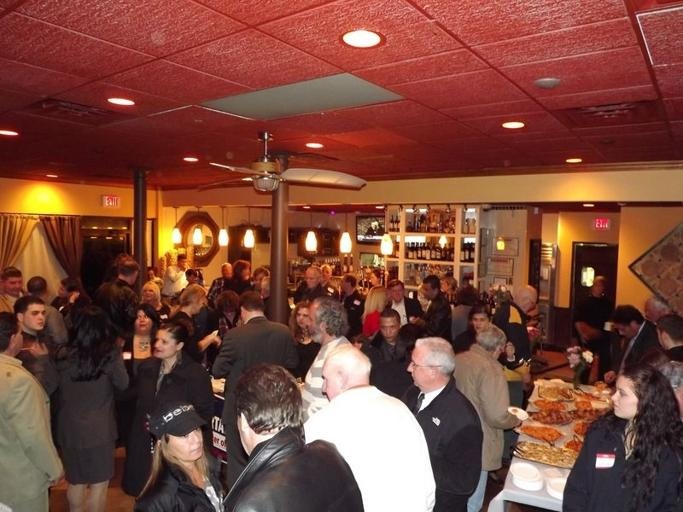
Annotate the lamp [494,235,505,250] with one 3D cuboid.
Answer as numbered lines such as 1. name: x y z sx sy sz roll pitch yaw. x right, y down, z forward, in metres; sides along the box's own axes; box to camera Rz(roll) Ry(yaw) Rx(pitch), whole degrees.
1. lamp: 2.369 -0.189 7.751 0.174 0.292 0.166 0 -4 21

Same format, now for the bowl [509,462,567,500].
1. bowl: 1.327 1.498 3.523 0.348 0.093 0.373 2 0 0

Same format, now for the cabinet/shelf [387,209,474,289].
1. cabinet/shelf: 1.376 -0.103 7.718 1.292 1.188 0.412 0 -3 30

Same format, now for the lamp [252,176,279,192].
1. lamp: -0.697 -0.659 4.744 0.205 0.138 0.240 2 0 -21

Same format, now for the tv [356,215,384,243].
1. tv: 0.716 -0.659 12.535 0.856 0.758 0.093 -2 -6 37

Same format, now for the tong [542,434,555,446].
1. tong: 1.582 1.410 3.981 0.063 0.021 0.086 0 -1 37

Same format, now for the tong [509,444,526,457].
1. tong: 1.298 1.427 3.819 0.100 0.024 0.139 -3 5 12

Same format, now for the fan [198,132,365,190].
1. fan: -0.565 -0.747 4.804 0.910 0.319 0.930 9 3 44

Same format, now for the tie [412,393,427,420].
1. tie: 0.502 0.964 3.341 0.038 0.128 0.094 13 -9 9

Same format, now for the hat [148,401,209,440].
1. hat: -0.923 0.866 2.835 0.332 0.169 0.243 -16 9 34

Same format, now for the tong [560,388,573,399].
1. tong: 2.137 1.309 4.941 0.077 0.022 0.079 10 8 10

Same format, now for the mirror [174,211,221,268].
1. mirror: -2.971 -0.379 10.810 1.219 1.349 0.110 3 8 13
